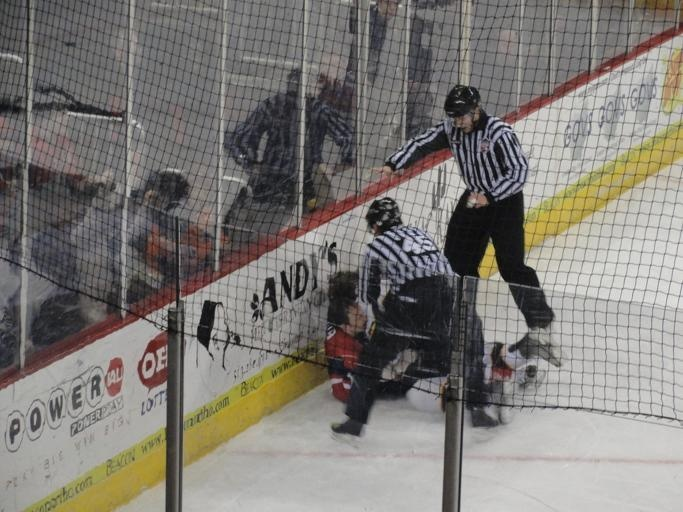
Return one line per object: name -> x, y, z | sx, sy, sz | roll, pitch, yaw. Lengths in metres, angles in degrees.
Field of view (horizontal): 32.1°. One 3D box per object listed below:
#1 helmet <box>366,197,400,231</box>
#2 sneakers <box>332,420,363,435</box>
helmet -> 0.342, -0.305, 8.706 | 0.188, 0.247, 0.240 | 0, -23, -33
sneakers -> 0.055, 1.213, 8.513 | 0.230, 0.106, 0.117 | 3, 13, -1
